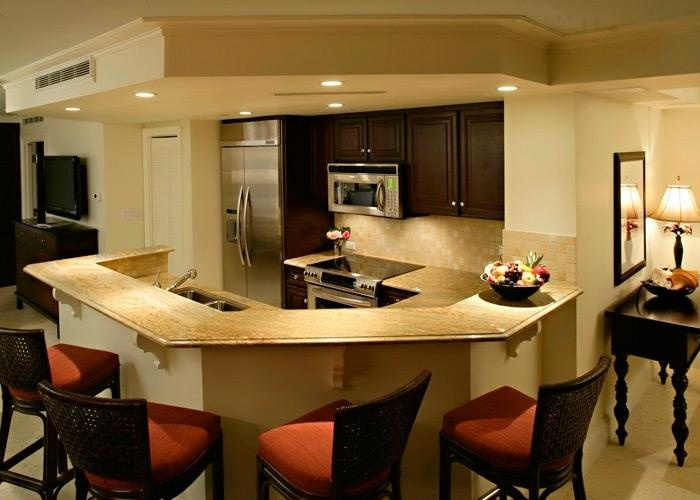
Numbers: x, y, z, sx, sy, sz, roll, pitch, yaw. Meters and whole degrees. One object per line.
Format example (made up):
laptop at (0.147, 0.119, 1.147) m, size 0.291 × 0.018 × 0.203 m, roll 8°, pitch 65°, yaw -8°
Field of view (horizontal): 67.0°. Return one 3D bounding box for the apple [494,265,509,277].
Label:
apple at (1.007, 0.138, 3.532) m, size 0.071 × 0.039 × 0.072 m, roll 3°, pitch 9°, yaw 44°

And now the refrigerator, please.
refrigerator at (-0.825, -0.434, 5.801) m, size 1.240 × 1.973 × 0.666 m, roll 9°, pitch 14°, yaw 40°

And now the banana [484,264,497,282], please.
banana at (0.965, 0.156, 3.614) m, size 0.029 × 0.108 × 0.083 m, roll 13°, pitch -27°, yaw -12°

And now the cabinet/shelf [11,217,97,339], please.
cabinet/shelf at (-3.831, 0.256, 6.914) m, size 0.625 × 1.178 × 1.779 m, roll -11°, pitch 15°, yaw -44°

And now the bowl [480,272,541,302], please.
bowl at (1.076, 0.256, 3.523) m, size 0.368 × 0.143 × 0.208 m, roll 2°, pitch 11°, yaw 12°

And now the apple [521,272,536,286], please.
apple at (1.175, 0.189, 3.453) m, size 0.097 × 0.073 × 0.097 m, roll 3°, pitch 11°, yaw 15°

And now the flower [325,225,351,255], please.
flower at (-0.146, -0.110, 5.738) m, size 0.295 × 0.292 × 0.278 m, roll -1°, pitch 0°, yaw -22°

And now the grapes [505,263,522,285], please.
grapes at (1.078, 0.162, 3.487) m, size 0.087 × 0.062 × 0.135 m, roll 0°, pitch 11°, yaw 17°

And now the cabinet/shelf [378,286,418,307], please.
cabinet/shelf at (0.444, 0.411, 4.718) m, size 0.280 × 0.192 × 0.291 m, roll -10°, pitch 13°, yaw 30°

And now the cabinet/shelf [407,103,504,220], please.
cabinet/shelf at (0.926, -0.784, 4.505) m, size 0.381 × 0.835 × 0.968 m, roll -5°, pitch 6°, yaw -44°

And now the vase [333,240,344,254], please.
vase at (-0.131, -0.038, 5.766) m, size 0.128 × 0.152 × 0.127 m, roll 1°, pitch 1°, yaw -6°

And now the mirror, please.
mirror at (2.361, -0.287, 4.444) m, size 0.082 × 1.148 × 1.072 m, roll 4°, pitch 11°, yaw 38°
